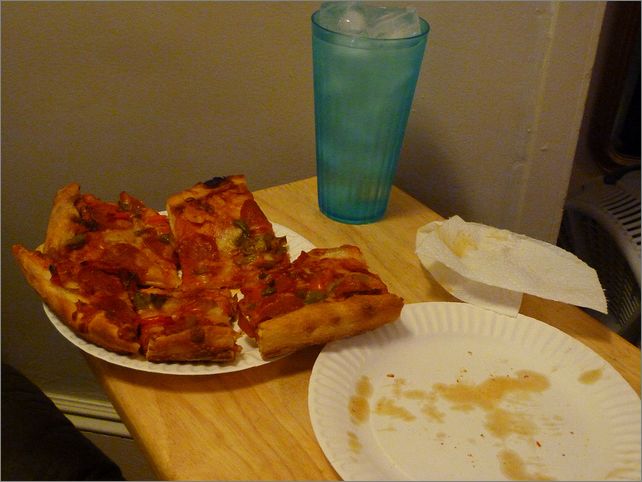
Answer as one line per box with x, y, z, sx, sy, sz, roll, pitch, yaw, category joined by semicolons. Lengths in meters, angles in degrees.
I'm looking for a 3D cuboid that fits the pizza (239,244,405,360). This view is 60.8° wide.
-0.004;0.087;0.796;0.236;0.048;0.145;-14;38;-16;pizza

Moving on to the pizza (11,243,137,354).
-0.365;0.079;0.793;0.227;0.115;0.031;27;98;9;pizza

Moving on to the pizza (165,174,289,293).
-0.169;-0.015;0.937;0.212;0.059;0.201;-18;50;-18;pizza
